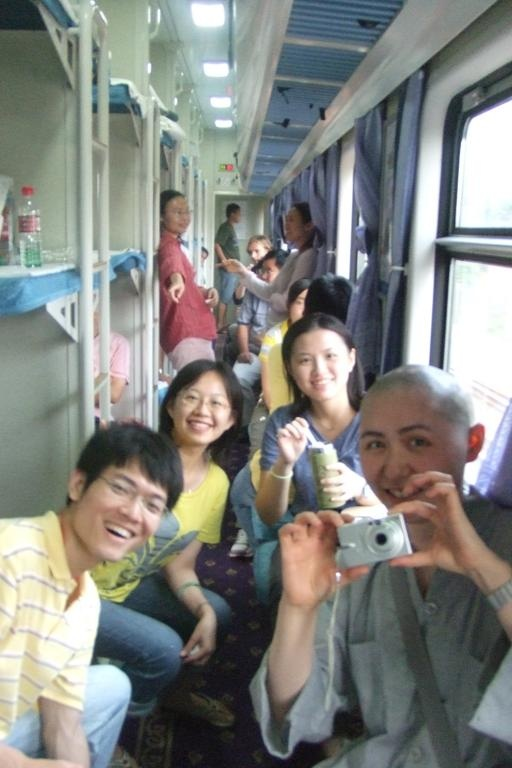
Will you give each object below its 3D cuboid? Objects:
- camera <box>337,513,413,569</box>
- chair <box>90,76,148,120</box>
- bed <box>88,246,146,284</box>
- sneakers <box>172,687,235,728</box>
[{"bbox_3d":[0.181,0.250,0.938,0.128,0.076,0.051,-15,-15,35],"label":"camera"},{"bbox_3d":[-0.723,-1.584,3.300,0.204,0.141,0.579,-2,8,-10],"label":"chair"},{"bbox_3d":[-0.749,-0.684,3.372,0.194,0.204,1.106,-2,8,-8],"label":"bed"},{"bbox_3d":[-0.159,0.968,1.811,0.211,0.078,0.083,11,32,6],"label":"sneakers"}]
